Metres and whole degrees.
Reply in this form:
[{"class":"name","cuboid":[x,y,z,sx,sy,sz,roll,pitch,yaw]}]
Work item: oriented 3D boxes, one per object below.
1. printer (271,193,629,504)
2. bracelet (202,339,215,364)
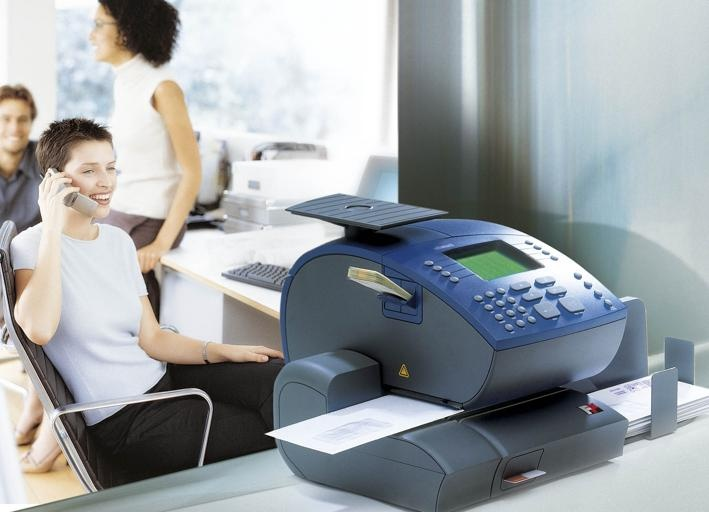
[{"class":"printer","cuboid":[0.171,0.143,1.204,0.708,0.606,0.364,-11,-1,-13]},{"class":"bracelet","cuboid":[-0.552,0.371,2.345,0.023,0.064,0.057,2,-7,-1]}]
